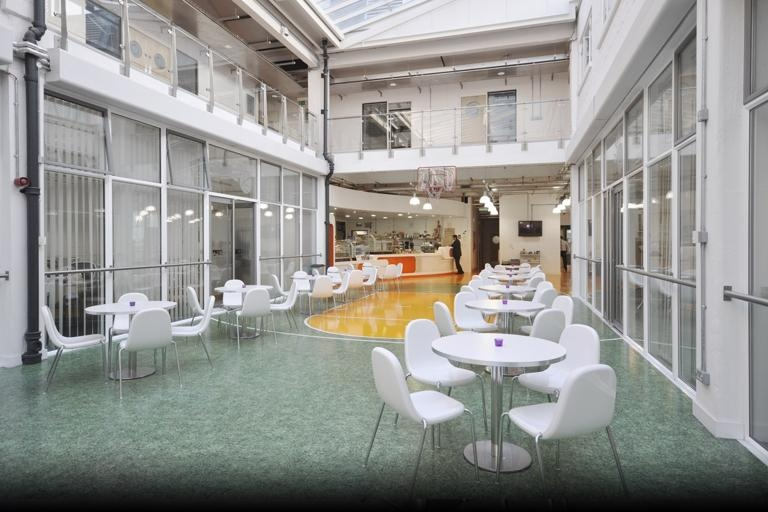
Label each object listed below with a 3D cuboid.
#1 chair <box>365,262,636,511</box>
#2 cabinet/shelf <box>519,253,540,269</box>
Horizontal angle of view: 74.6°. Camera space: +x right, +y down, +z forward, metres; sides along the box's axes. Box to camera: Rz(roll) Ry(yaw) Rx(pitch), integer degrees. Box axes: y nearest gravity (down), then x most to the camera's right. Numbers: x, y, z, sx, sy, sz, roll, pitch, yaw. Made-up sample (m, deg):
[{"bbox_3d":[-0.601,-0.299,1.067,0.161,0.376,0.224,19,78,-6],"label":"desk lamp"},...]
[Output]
[{"bbox_3d":[1.156,1.372,5.187,1.242,1.201,2.266,1,-2,-24],"label":"chair"},{"bbox_3d":[5.247,0.124,18.243,0.518,0.502,0.306,2,6,8],"label":"cabinet/shelf"}]
